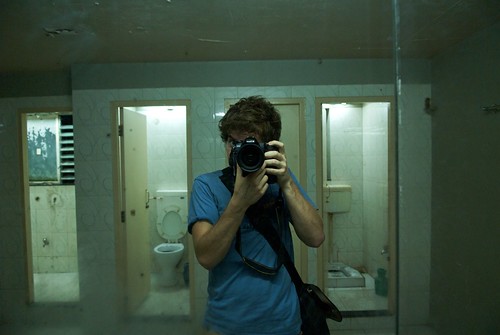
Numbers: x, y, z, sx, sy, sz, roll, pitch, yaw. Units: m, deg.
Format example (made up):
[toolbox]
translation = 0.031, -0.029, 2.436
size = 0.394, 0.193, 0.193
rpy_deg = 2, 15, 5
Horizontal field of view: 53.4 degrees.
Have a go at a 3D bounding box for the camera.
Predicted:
[camera]
translation = -0.002, -0.050, 2.357
size = 0.256, 0.204, 0.201
rpy_deg = 0, 3, 23
